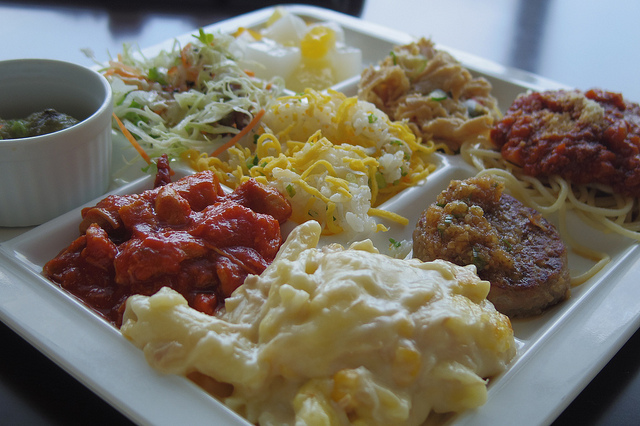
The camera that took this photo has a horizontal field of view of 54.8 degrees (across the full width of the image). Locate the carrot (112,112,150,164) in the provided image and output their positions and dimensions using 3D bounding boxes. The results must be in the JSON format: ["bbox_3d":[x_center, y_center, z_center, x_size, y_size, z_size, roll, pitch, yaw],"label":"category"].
[{"bbox_3d":[-1.062,-0.415,3.472,0.052,0.040,0.374,-38,89,-9],"label":"carrot"}]

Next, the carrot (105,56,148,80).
[{"bbox_3d":[-1.201,-0.853,3.763,0.185,0.066,0.154,19,49,22],"label":"carrot"}]
